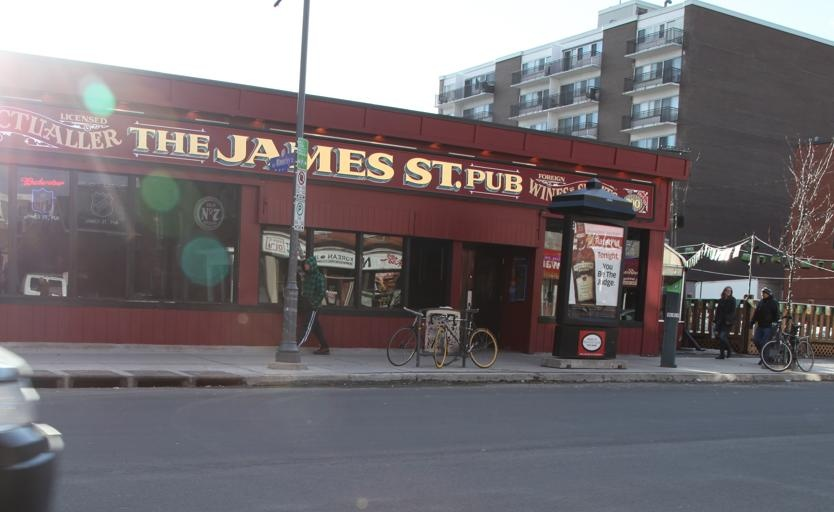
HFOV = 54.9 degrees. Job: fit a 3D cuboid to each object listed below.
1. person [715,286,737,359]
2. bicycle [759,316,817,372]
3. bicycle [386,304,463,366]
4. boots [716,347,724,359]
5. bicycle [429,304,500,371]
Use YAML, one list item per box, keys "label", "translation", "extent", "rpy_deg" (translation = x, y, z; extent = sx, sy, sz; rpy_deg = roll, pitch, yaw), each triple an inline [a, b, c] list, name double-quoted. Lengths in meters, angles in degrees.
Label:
- label: "person"
  translation: [10.585, 2.292, 27.663]
  extent: [0.635, 2.439, 1.365]
  rpy_deg: [1, -5, 21]
- label: "bicycle"
  translation: [11.477, 2.783, 24.725]
  extent: [2.410, 1.534, 1.060]
  rpy_deg: [5, -2, -30]
- label: "bicycle"
  translation: [0.257, 2.063, 20.533]
  extent: [1.487, 1.524, 1.838]
  rpy_deg: [1, -5, 18]
- label: "boots"
  translation: [10.274, 3.318, 27.255]
  extent: [0.259, 0.305, 0.814]
  rpy_deg: [1, -6, 20]
- label: "bicycle"
  translation: [1.195, 2.169, 20.977]
  extent: [2.307, 1.466, 0.664]
  rpy_deg: [-5, 3, 44]
